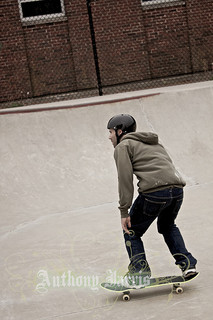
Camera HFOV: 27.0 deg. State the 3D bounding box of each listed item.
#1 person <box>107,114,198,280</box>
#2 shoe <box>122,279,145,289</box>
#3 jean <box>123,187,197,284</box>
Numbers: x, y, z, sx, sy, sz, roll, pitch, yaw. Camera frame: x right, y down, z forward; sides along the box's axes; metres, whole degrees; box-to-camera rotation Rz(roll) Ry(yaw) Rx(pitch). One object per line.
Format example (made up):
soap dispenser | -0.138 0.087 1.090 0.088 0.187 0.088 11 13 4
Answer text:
person | 0.287 0.283 2.917 0.487 1.012 0.325 -13 -4 -29
shoe | 0.160 0.804 2.888 0.162 0.063 0.056 -16 -4 33
jean | 0.329 0.485 2.893 0.467 0.595 0.274 -13 -4 -26
